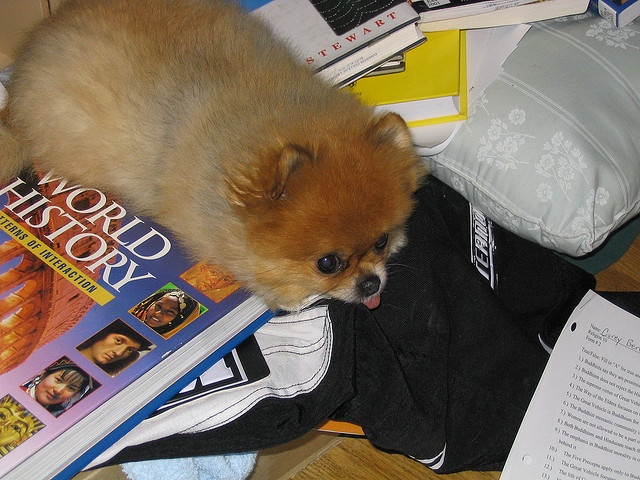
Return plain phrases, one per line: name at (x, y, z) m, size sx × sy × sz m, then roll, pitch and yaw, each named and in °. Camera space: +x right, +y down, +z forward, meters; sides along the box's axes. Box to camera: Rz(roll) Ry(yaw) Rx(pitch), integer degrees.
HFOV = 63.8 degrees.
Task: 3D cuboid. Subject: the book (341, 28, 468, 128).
book at (0.241, -0.384, 1.338) m, size 0.254 × 0.062 × 0.269 m, roll -12°, pitch 52°, yaw -3°
